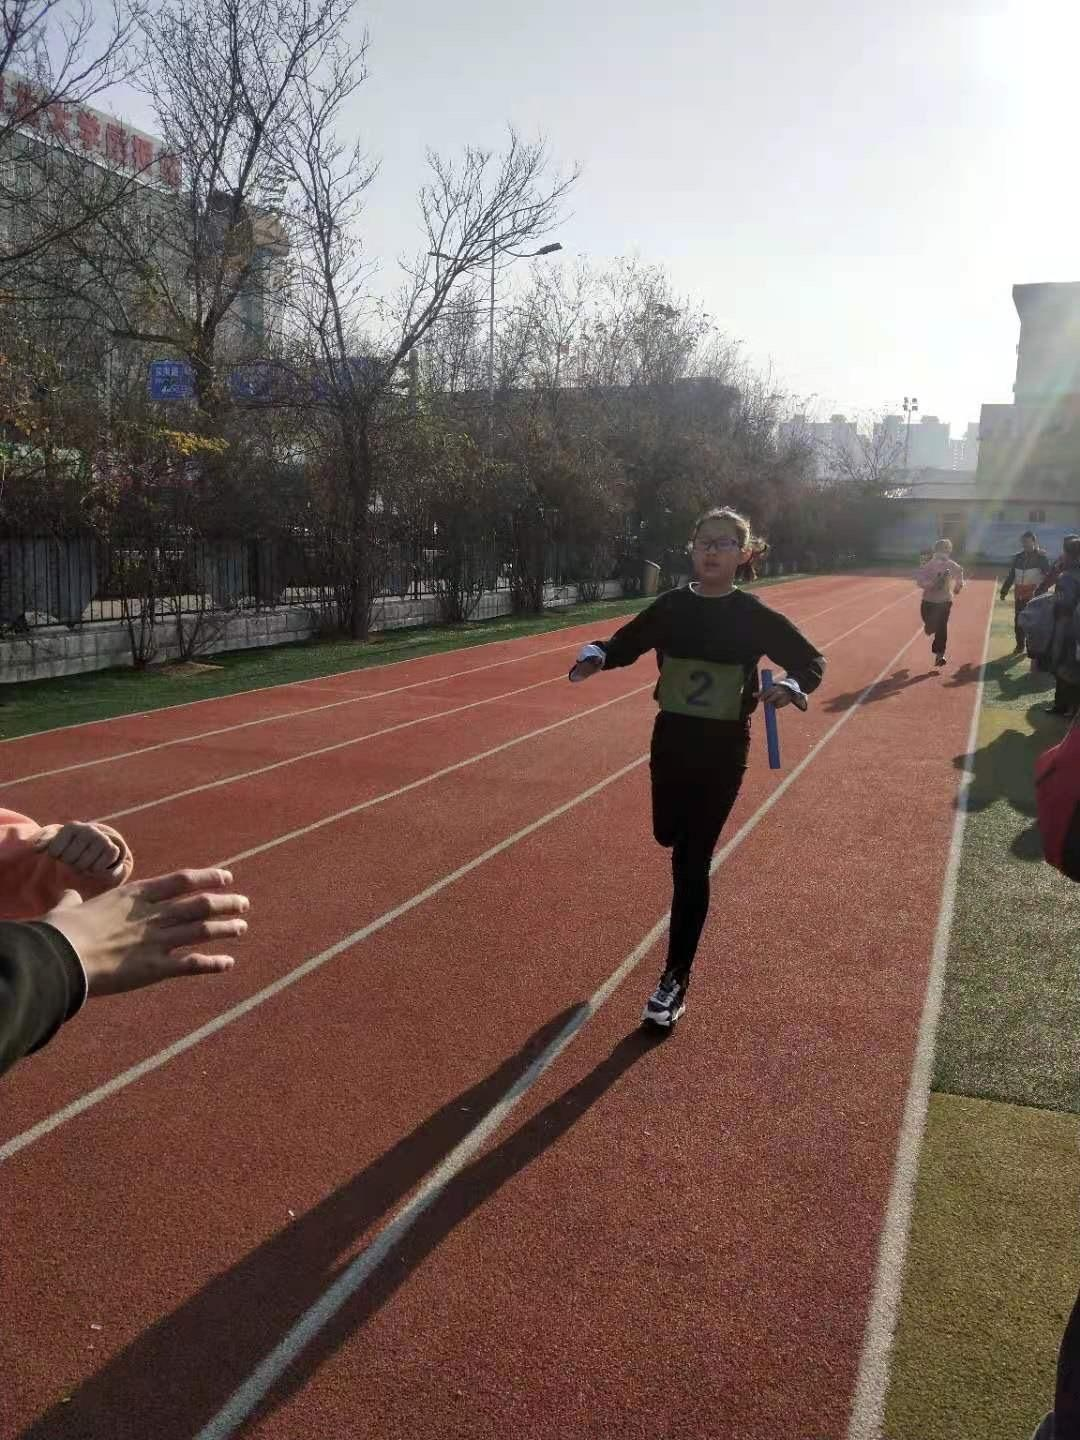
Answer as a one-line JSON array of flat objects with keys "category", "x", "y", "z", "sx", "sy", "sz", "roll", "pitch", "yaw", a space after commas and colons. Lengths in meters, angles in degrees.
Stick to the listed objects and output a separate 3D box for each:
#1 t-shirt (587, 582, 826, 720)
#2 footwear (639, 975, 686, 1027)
[{"category": "t-shirt", "x": 0.709, "y": -0.239, "z": 4.309, "sx": 0.784, "sy": 0.636, "sz": 0.516, "roll": 15, "pitch": -8, "yaw": 26}, {"category": "footwear", "x": 0.514, "y": 1.173, "z": 4.310, "sx": 0.092, "sy": 0.168, "sz": 0.289, "roll": 11, "pitch": -5, "yaw": 18}]
